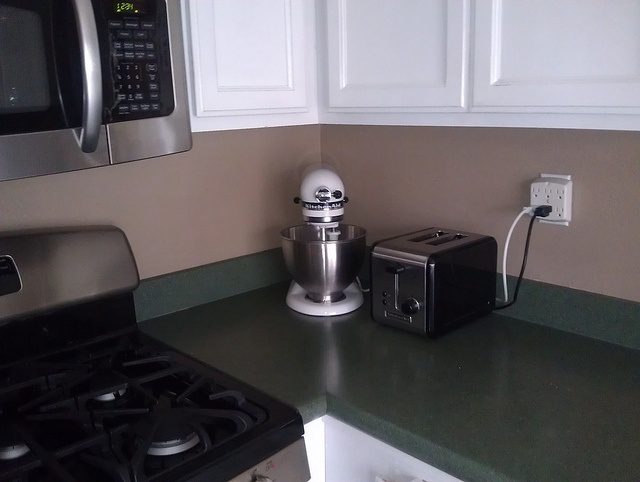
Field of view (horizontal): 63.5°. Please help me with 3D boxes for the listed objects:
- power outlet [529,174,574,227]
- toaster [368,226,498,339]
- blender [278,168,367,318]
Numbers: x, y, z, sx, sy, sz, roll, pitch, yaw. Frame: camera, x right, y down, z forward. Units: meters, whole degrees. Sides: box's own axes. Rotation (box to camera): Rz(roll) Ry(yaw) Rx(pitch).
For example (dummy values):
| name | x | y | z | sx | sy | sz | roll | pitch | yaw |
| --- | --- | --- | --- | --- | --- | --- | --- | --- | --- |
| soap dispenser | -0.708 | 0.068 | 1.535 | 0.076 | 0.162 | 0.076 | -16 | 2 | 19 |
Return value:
| name | x | y | z | sx | sy | sz | roll | pitch | yaw |
| --- | --- | --- | --- | --- | --- | --- | --- | --- | --- |
| power outlet | 0.642 | -0.117 | 1.432 | 0.049 | 0.172 | 0.112 | -9 | 13 | -38 |
| toaster | 0.339 | 0.081 | 1.534 | 0.346 | 0.254 | 0.240 | -11 | 15 | -40 |
| blender | -0.002 | 0.059 | 1.708 | 0.232 | 0.537 | 0.266 | -4 | 22 | -16 |
